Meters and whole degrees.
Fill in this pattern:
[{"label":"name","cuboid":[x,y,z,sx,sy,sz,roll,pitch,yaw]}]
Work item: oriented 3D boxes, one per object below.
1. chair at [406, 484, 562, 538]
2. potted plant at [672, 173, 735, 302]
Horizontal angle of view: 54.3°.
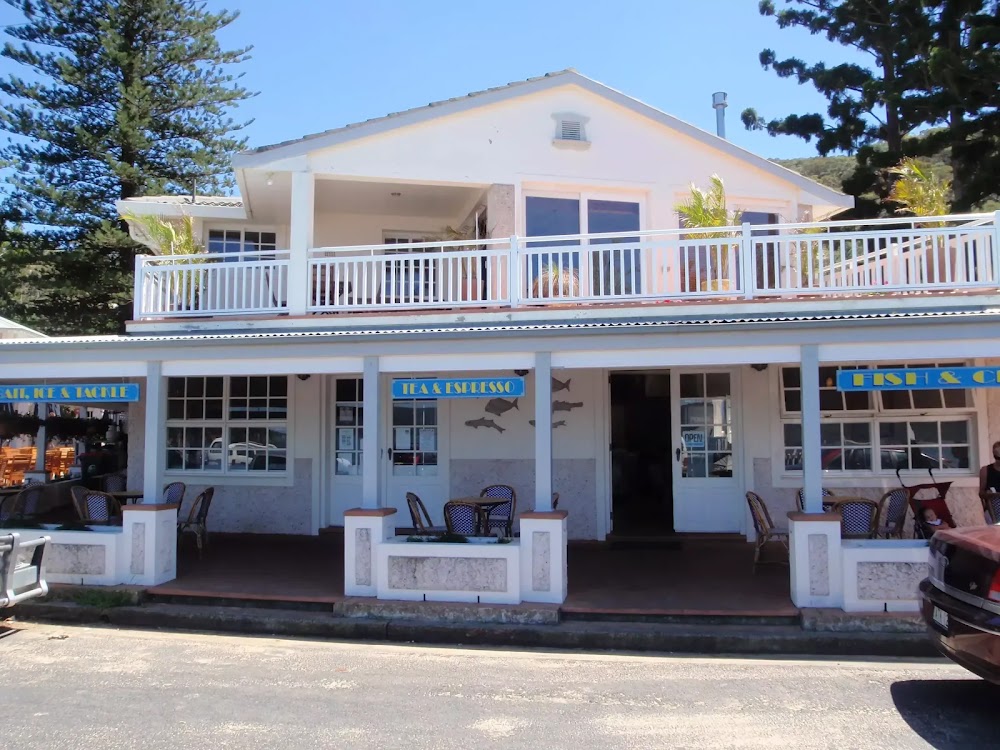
[{"label":"chair","cuboid":[-0.421,2.148,14.616,1.468,0.661,1.418,0,1,-3]},{"label":"potted plant","cuboid":[3.308,-2.315,15.685,0.915,1.855,3.059,1,8,10]}]
